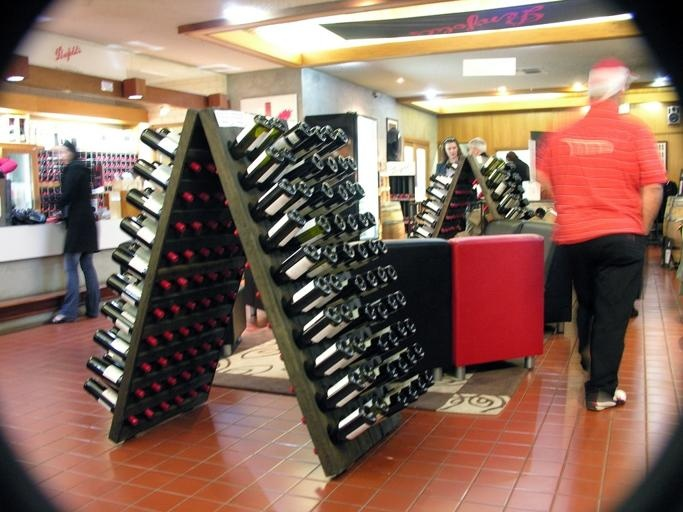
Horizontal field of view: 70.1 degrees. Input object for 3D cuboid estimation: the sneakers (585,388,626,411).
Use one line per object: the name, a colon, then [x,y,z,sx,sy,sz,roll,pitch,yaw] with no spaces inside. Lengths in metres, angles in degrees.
sneakers: [1.714,0.907,3.146,0.341,0.133,0.107,-5,2,-22]

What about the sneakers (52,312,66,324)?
sneakers: [-3.275,0.715,5.611,0.171,0.113,0.086,0,7,14]

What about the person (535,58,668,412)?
person: [1.599,-0.124,3.030,0.686,2.171,0.335,1,7,30]

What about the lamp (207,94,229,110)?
lamp: [-2.425,-3.035,9.520,0.466,0.270,0.233,-2,6,-1]

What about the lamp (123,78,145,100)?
lamp: [-3.460,-2.770,8.109,0.336,0.306,0.344,14,19,42]
